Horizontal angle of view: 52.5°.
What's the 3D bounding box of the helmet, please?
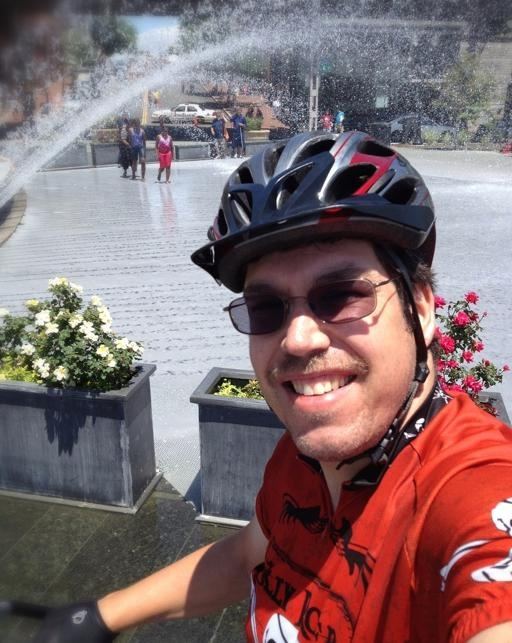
[{"bbox_3d":[0.184,-0.355,1.335,0.423,0.287,0.595,-15,-28,38],"label":"helmet"}]
